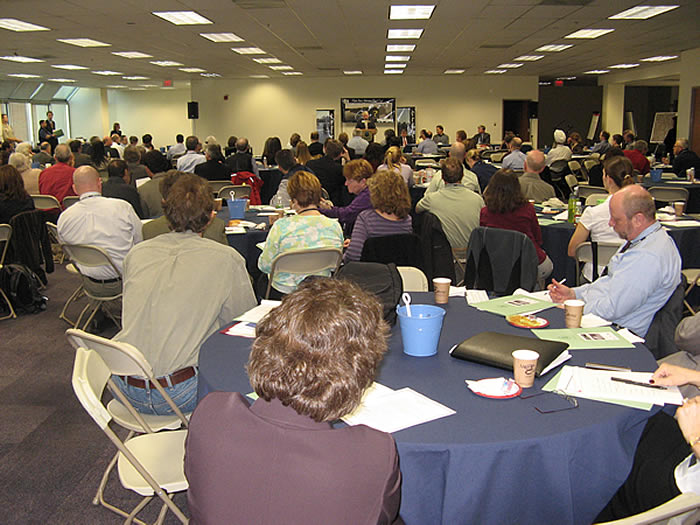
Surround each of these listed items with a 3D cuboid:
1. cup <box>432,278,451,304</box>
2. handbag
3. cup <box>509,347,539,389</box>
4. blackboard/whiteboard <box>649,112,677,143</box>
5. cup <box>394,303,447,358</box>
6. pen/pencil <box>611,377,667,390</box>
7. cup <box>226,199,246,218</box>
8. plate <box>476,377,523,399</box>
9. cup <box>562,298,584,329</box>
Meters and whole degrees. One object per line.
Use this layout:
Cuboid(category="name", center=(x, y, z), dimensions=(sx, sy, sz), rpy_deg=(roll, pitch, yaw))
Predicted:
Cuboid(category="cup", center=(0.451, 0.153, 2.570), dimensions=(0.100, 0.117, 0.107), rpy_deg=(0, 1, 0))
Cuboid(category="handbag", center=(0.086, 0.118, 2.247), dimensions=(0.248, 0.292, 0.294), rpy_deg=(6, 16, 3))
Cuboid(category="cup", center=(0.607, 0.373, 1.805), dimensions=(0.107, 0.124, 0.106), rpy_deg=(2, 9, 0))
Cuboid(category="blackboard/whiteboard", center=(10.878, -4.617, 17.476), dimensions=(0.589, 1.007, 1.270), rpy_deg=(9, 21, 31))
Cuboid(category="cup", center=(0.280, 0.271, 2.025), dimensions=(0.166, 0.153, 0.192), rpy_deg=(-1, 0, -7))
Cuboid(category="pen/pencil", center=(1.010, 0.426, 1.750), dimensions=(0.204, 0.026, 0.023), rpy_deg=(3, -3, 9))
Cuboid(category="cup", center=(-1.117, -0.532, 5.017), dimensions=(0.179, 0.202, 0.166), rpy_deg=(-2, 10, 0))
Cuboid(category="plate", center=(0.513, 0.436, 1.732), dimensions=(0.159, 0.022, 0.101), rpy_deg=(2, 19, 8))
Cuboid(category="cup", center=(0.981, 0.229, 2.256), dimensions=(0.092, 0.116, 0.105), rpy_deg=(0, 3, 2))
